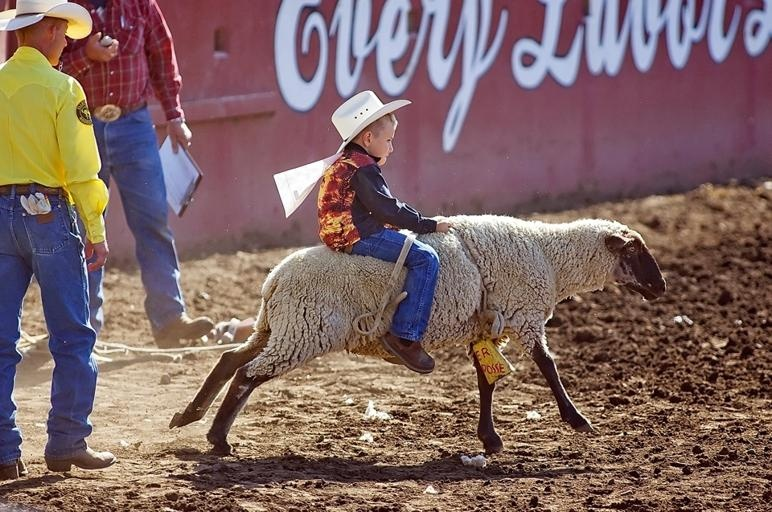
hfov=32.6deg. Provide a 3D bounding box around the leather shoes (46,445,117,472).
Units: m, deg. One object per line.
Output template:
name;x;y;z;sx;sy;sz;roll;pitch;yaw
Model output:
leather shoes;-2.273;1.452;9.863;0.510;0.216;0.184;-9;13;-19

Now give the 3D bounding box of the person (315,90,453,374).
person;-0.051;-0.203;10.399;0.997;2.119;0.553;4;13;15

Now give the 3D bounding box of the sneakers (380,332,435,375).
sneakers;0.178;0.743;10.370;0.478;0.221;0.222;29;24;-3

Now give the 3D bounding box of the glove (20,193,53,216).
glove;-2.542;-0.381;9.573;0.169;0.172;0.068;-20;5;-6
